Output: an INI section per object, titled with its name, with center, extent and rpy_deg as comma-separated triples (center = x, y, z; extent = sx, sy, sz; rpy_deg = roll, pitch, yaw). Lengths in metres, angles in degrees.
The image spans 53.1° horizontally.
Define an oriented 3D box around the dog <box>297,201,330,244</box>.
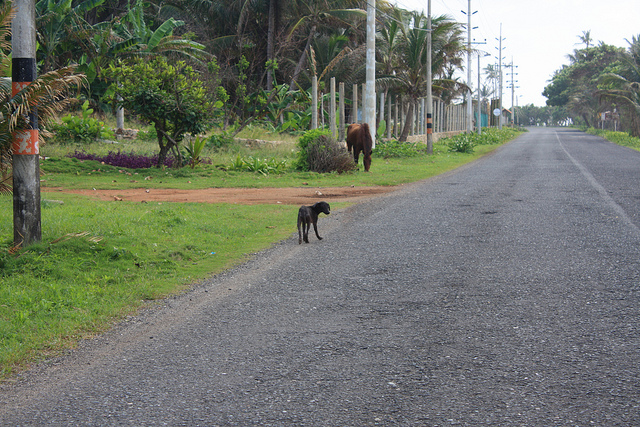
[dog]
center = -0.165, 0.165, 11.653
extent = 0.351, 0.640, 0.789
rpy_deg = 10, 19, 35
